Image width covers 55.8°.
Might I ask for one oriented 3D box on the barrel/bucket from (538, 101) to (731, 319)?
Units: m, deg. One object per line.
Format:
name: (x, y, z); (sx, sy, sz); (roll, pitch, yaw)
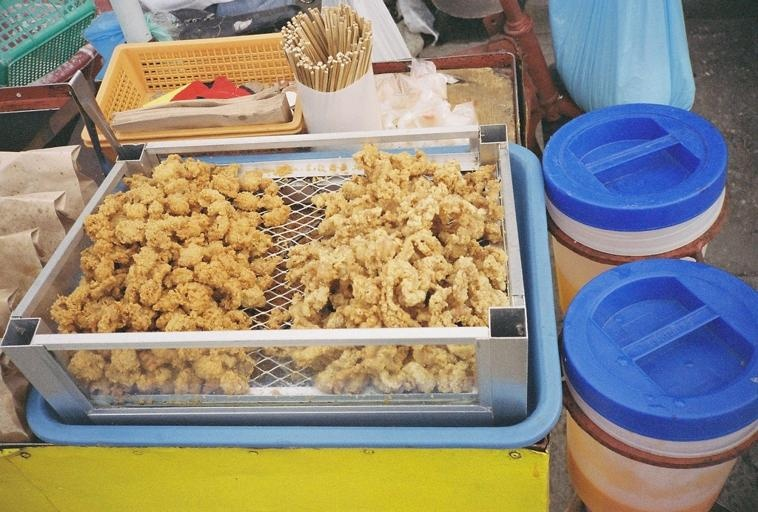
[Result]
barrel/bucket: (0.798, -0.136, 2.269); (0.434, 0.607, 0.555); (-29, 48, -1)

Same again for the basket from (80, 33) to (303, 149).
basket: (-0.726, -0.682, 2.924); (0.729, 0.225, 0.498); (-5, 68, 2)

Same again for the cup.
cup: (-0.118, -0.526, 2.593); (0.302, 0.305, 0.288); (-6, 43, 6)

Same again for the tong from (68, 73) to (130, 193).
tong: (-0.937, -0.411, 2.346); (0.170, 0.338, 0.124); (7, 37, 20)
